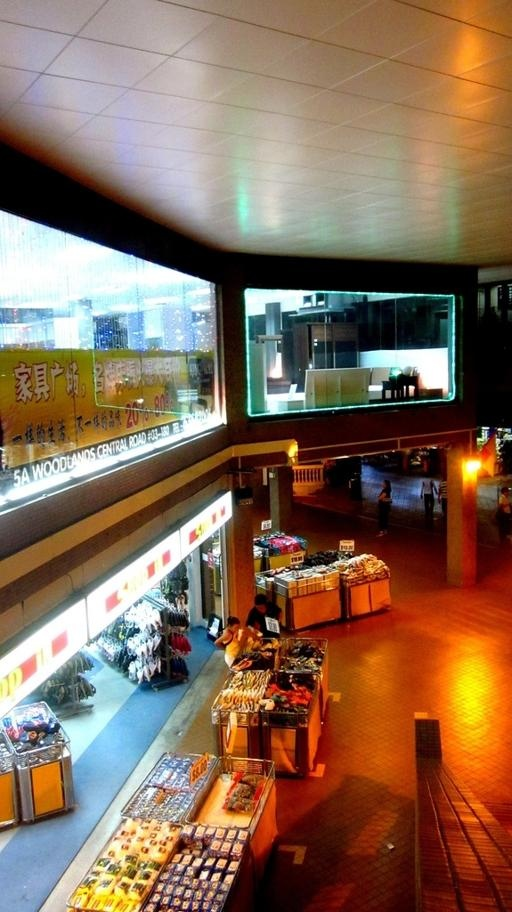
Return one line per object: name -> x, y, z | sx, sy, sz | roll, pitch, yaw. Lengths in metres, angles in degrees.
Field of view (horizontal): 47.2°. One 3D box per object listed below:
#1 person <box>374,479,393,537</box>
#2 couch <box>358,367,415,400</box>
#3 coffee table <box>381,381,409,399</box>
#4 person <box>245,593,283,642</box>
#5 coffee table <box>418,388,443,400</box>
person -> 3.834, 1.538, 17.726 | 0.349, 1.579, 0.905 | 0, 4, 8
couch -> 2.717, -1.444, 11.763 | 1.521, 0.653, 0.187 | -5, 5, -39
coffee table -> 2.800, -1.340, 11.818 | 0.492, 0.566, 0.379 | -4, 2, -34
person -> 0.094, 2.320, 8.325 | 0.422, 0.740, 0.705 | -1, 4, 3
coffee table -> 3.674, -1.303, 12.416 | 0.747, 0.247, 0.094 | -5, 6, -41
